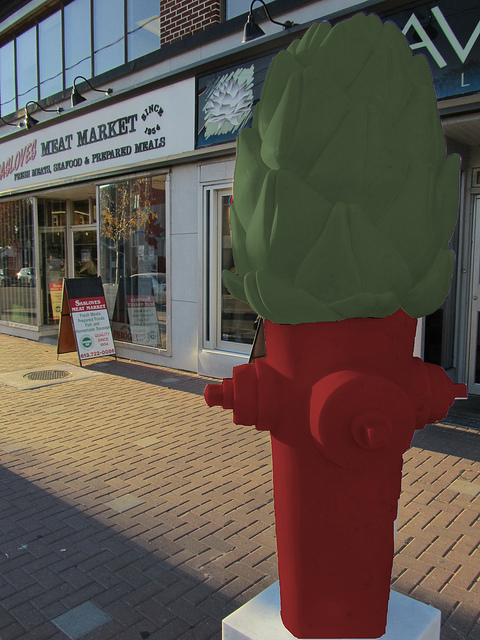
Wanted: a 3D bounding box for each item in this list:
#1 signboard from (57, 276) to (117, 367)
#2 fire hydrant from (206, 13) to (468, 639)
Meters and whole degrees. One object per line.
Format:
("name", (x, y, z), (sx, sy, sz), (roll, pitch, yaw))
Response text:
("signboard", (-2.580, -0.002, 8.435), (0.843, 1.423, 0.634), (-6, 9, -44))
("fire hydrant", (0.226, 0.074, 1.168), (0.602, 1.508, 0.366), (0, 6, -3))
